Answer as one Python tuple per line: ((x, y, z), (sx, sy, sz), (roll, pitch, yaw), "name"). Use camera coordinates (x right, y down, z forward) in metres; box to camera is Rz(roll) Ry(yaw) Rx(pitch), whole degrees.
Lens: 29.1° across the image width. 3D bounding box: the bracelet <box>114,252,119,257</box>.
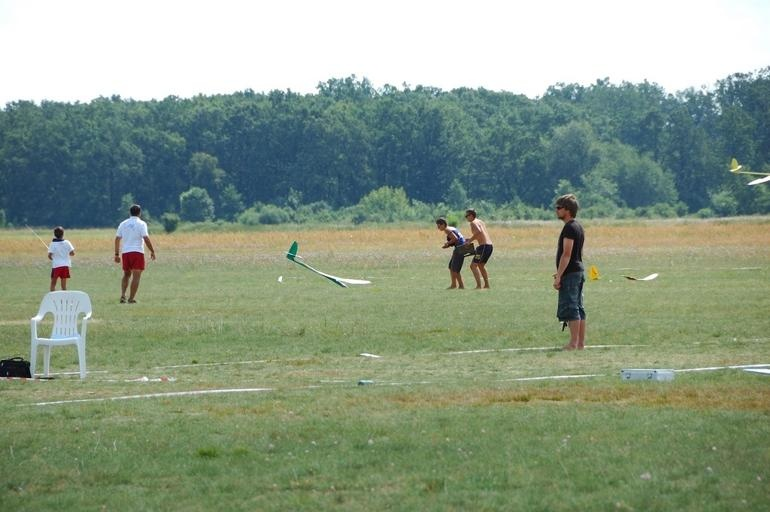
((-18.777, 0.047, 103.817), (0.380, 0.370, 0.354), (0, -4, -1), "bracelet")
